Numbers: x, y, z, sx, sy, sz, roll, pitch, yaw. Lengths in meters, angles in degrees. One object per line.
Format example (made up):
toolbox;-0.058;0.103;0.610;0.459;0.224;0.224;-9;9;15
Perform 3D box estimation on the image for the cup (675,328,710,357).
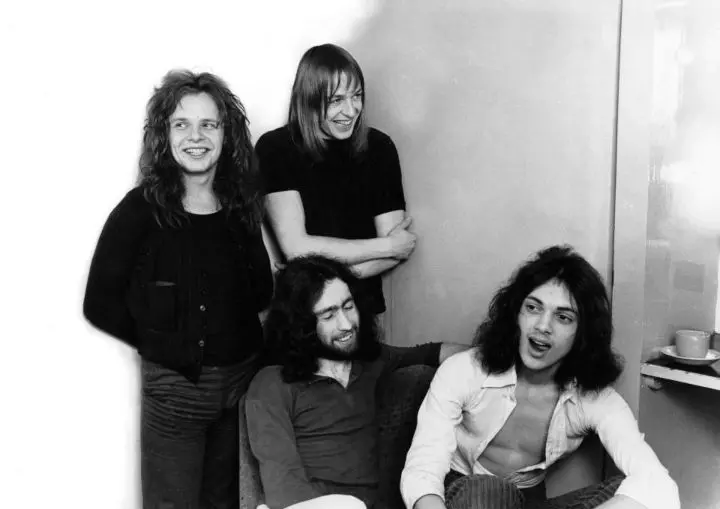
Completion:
cup;1.269;0.333;2.556;0.108;0.085;0.098;-8;4;-39
